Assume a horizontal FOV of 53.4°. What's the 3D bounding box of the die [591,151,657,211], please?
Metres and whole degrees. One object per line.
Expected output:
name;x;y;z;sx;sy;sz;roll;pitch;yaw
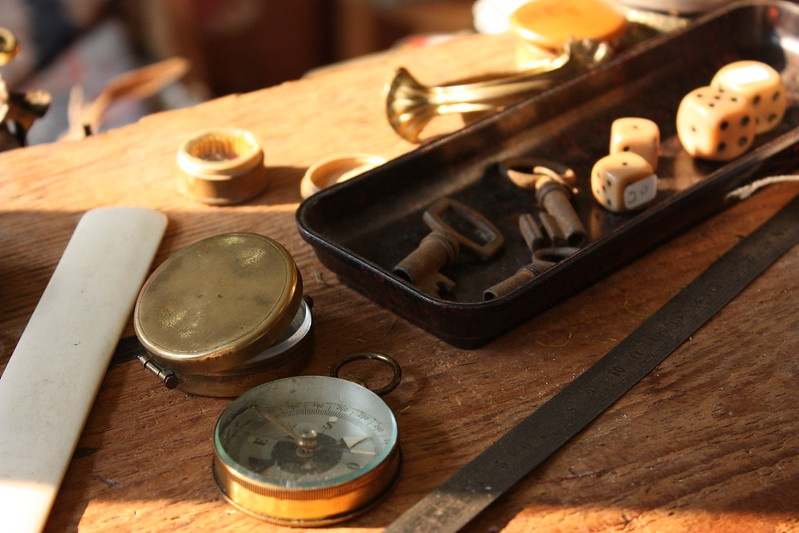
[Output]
die;0.396;-0.148;1.399;0.093;0.077;0.093;-23;37;-18

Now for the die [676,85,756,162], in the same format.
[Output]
die;0.594;-0.269;1.494;0.109;0.105;0.108;-17;36;-7
